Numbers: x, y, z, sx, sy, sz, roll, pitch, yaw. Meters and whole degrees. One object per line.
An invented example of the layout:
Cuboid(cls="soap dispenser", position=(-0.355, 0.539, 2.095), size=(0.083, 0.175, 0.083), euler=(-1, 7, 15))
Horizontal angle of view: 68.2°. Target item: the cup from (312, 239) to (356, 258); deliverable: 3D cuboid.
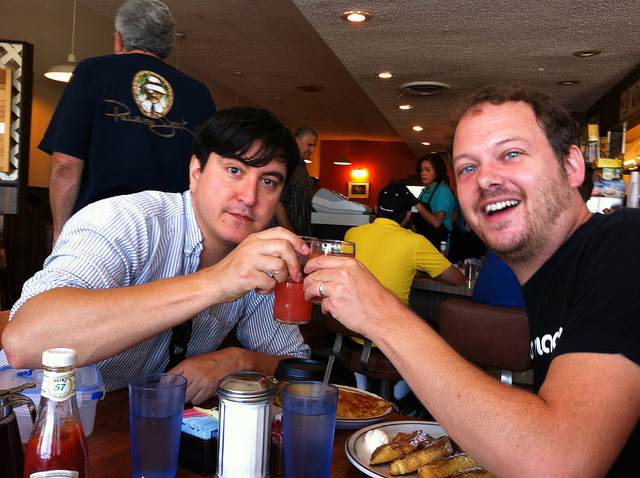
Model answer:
Cuboid(cls="cup", position=(0.039, 0.029, 1.392), size=(0.080, 0.065, 0.075), euler=(3, -6, 0))

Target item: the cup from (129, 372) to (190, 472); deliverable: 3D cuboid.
Cuboid(cls="cup", position=(-0.353, 0.397, 1.018), size=(0.113, 0.182, 0.112), euler=(5, 1, 0))

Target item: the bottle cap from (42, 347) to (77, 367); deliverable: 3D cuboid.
Cuboid(cls="bottle cap", position=(-0.419, 0.194, 0.763), size=(0.043, 0.025, 0.036), euler=(5, 1, 16))

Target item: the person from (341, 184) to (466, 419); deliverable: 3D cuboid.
Cuboid(cls="person", position=(0.555, 0.349, 3.433), size=(0.910, 1.385, 0.651), euler=(6, 23, 5))

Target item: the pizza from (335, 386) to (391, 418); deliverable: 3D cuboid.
Cuboid(cls="pizza", position=(0.119, 0.456, 1.349), size=(0.127, 0.013, 0.123), euler=(3, 1, 27))

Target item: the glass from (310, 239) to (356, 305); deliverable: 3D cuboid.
Cuboid(cls="glass", position=(0.055, 0.087, 1.340), size=(0.201, 0.188, 0.183), euler=(1, -2, -2))

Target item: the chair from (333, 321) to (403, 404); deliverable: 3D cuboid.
Cuboid(cls="chair", position=(0.285, 0.776, 2.914), size=(0.405, 0.500, 0.634), euler=(5, 1, 2))

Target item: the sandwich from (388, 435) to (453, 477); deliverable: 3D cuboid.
Cuboid(cls="sandwich", position=(0.248, 0.517, 1.113), size=(0.192, 0.049, 0.057), euler=(3, 1, -42))

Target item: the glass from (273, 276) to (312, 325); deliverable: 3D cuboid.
Cuboid(cls="glass", position=(-0.083, 0.176, 1.378), size=(0.153, 0.144, 0.139), euler=(1, -3, 0))

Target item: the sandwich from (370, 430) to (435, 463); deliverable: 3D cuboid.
Cuboid(cls="sandwich", position=(0.194, 0.502, 1.153), size=(0.107, 0.018, 0.059), euler=(-3, -3, -44))
